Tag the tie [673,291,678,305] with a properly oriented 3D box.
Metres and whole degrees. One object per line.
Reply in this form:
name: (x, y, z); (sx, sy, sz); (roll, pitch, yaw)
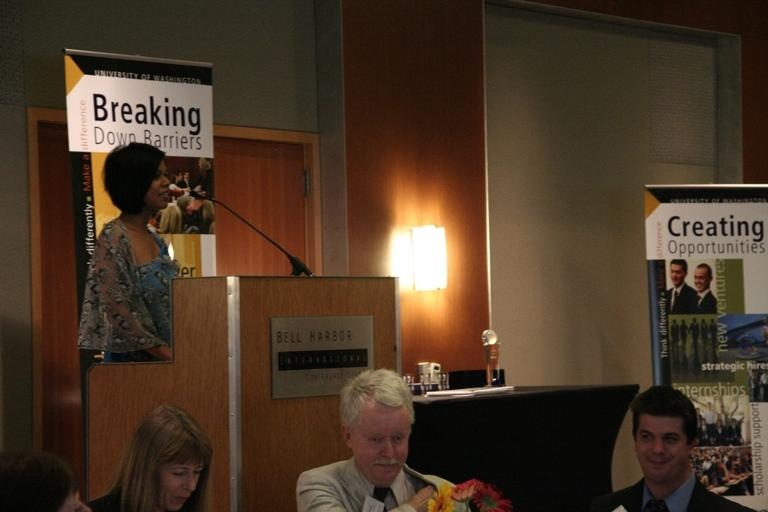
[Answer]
tie: (2.422, 0.358, 6.645); (0.024, 0.113, 0.033); (2, -8, 34)
